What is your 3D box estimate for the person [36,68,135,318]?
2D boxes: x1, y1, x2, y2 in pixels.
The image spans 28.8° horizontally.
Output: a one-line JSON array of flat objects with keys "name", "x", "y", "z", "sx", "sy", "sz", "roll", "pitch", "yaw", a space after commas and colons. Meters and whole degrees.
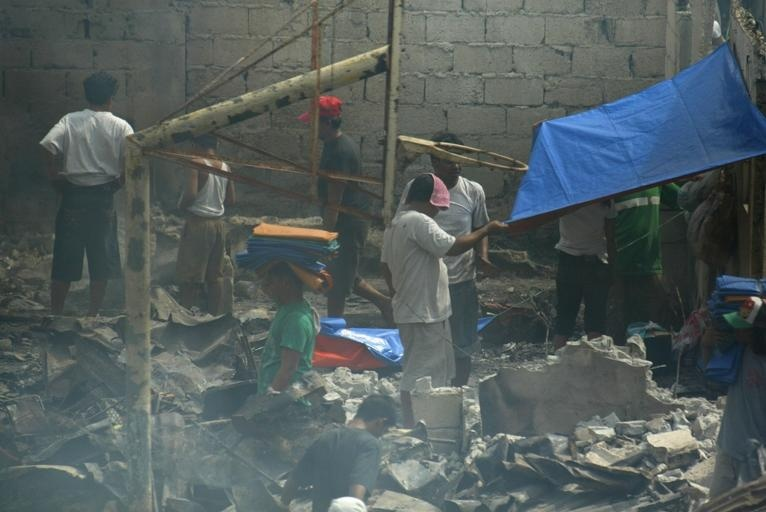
[{"name": "person", "x": -2.992, "y": -0.618, "z": 15.059, "sx": 0.864, "sy": 2.429, "sz": 0.503, "roll": 1, "pitch": -5, "yaw": -11}]

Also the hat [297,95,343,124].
[{"name": "hat", "x": -0.658, "y": -1.511, "z": 15.789, "sx": 0.552, "sy": 0.290, "sz": 0.322, "roll": -3, "pitch": 17, "yaw": 3}]

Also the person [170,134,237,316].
[{"name": "person", "x": -1.908, "y": -0.318, "z": 16.084, "sx": 0.604, "sy": 1.932, "sz": 1.225, "roll": 0, "pitch": -4, "yaw": -6}]

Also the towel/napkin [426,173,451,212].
[{"name": "towel/napkin", "x": 0.546, "y": -0.588, "z": 13.954, "sx": 0.100, "sy": 0.317, "sz": 0.254, "roll": -4, "pitch": -6, "yaw": 41}]
